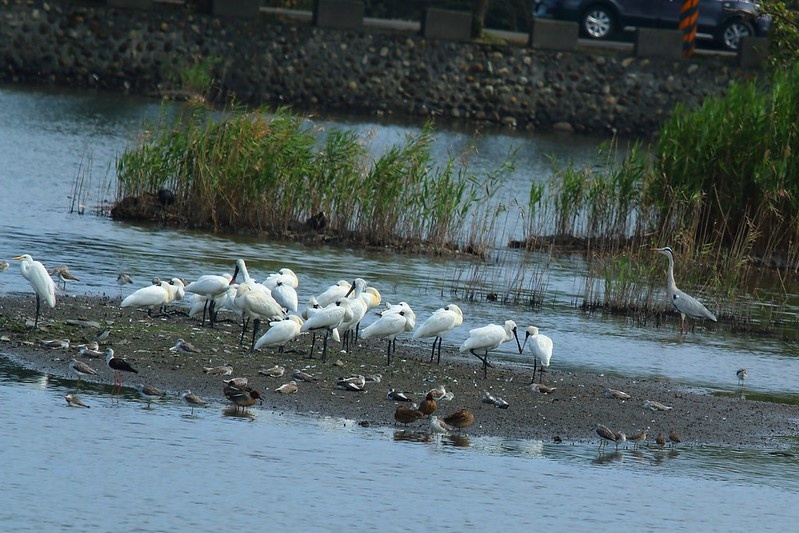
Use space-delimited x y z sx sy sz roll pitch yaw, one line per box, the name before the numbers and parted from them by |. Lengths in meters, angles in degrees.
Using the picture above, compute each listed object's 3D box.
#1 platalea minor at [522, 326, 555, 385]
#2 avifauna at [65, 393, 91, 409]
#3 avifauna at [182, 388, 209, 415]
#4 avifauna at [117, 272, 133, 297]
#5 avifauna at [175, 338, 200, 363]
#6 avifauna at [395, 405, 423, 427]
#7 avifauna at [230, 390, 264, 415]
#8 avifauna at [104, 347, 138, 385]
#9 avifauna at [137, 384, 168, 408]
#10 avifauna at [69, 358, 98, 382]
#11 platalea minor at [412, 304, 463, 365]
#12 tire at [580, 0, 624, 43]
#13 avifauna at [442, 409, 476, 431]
platalea minor | 2.739 1.804 27.080 0.426 1.212 1.262 4 2 -20
avifauna | -5.923 2.451 24.126 0.629 0.162 0.299 11 6 35
avifauna | -3.813 2.481 24.400 0.551 0.479 0.246 1 8 28
avifauna | -6.357 0.347 30.517 0.286 0.602 0.566 2 -3 0
avifauna | -4.213 1.627 26.231 0.451 0.336 0.263 17 20 31
avifauna | 0.167 2.762 24.614 0.462 0.365 0.274 5 11 29
avifauna | -2.814 2.481 24.397 0.666 0.459 0.251 11 12 34
avifauna | -5.295 1.880 25.044 0.537 0.733 0.313 0 8 0
avifauna | -4.592 2.374 24.544 0.346 0.364 0.649 9 5 33
avifauna | -6.001 1.928 24.962 0.466 0.334 0.596 9 5 28
platalea minor | 0.823 1.379 27.923 0.865 1.161 1.506 7 5 12
tire | 8.436 -10.307 55.960 1.206 0.994 1.888 4 6 -32
avifauna | 1.072 2.835 24.586 0.433 0.356 0.348 4 1 7
